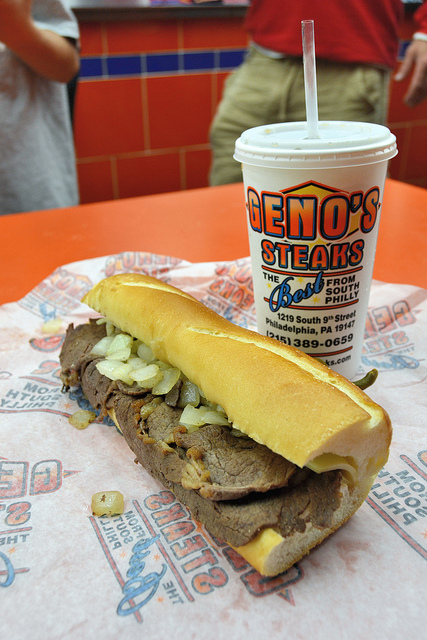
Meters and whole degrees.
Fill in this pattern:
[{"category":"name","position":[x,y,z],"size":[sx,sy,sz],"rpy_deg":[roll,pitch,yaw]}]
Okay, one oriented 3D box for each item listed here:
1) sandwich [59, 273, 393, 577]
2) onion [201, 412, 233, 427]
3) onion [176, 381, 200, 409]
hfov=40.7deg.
[{"category":"sandwich","position":[-0.038,0.179,1.284],"size":[0.389,0.278,0.801],"rpy_deg":[-15,31,-31]},{"category":"onion","position":[0.001,0.196,1.139],"size":[0.044,0.010,0.028],"rpy_deg":[3,21,36]},{"category":"onion","position":[-0.059,0.159,1.230],"size":[0.041,0.014,0.059],"rpy_deg":[-8,47,8]}]
